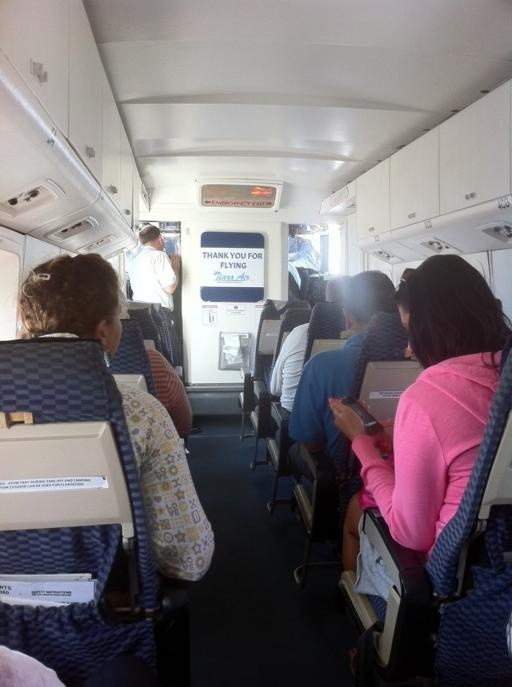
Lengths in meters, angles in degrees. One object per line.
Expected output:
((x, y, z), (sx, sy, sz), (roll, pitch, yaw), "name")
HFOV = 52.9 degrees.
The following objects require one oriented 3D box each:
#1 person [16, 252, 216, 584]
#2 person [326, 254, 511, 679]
((-0.325, 0.173, 1.102), (0.381, 0.753, 0.330), (4, 6, 37), "person")
((0.451, 0.197, 1.267), (0.376, 0.828, 0.683), (-1, 5, -13), "person")
